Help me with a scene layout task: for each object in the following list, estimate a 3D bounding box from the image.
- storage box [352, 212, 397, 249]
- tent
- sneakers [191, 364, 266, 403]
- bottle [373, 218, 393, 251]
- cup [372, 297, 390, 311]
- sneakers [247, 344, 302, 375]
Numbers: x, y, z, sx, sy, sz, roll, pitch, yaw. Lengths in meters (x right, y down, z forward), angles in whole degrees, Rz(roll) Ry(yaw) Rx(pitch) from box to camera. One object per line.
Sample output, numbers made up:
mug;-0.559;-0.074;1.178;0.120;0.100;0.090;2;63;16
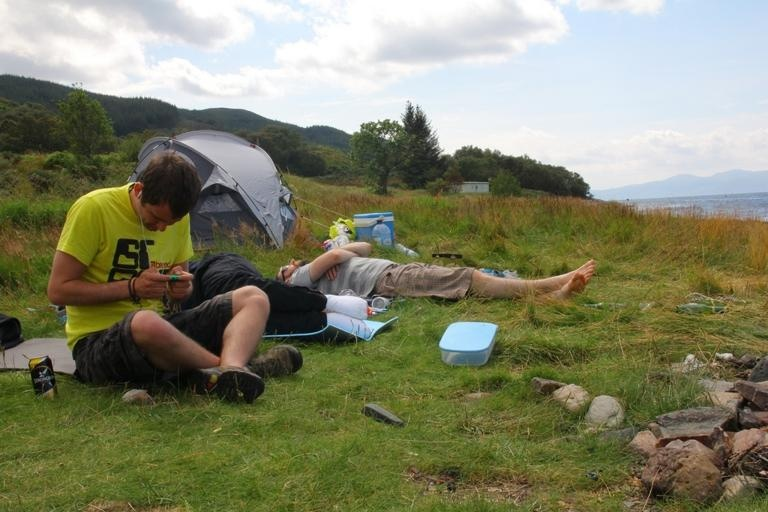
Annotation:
storage box;-0.212;-0.380;9.987;0.800;0.556;0.806;-11;0;7
tent;-2.537;-1.271;10.639;2.386;1.071;2.526;3;6;7
sneakers;-1.110;0.923;4.560;0.527;0.222;0.250;7;1;7
bottle;-0.029;-0.346;9.658;0.444;0.603;0.339;-3;15;-1
cup;-0.034;0.519;6.689;0.200;0.133;0.208;-1;6;0
sneakers;-0.855;0.842;4.971;0.381;0.156;0.196;-2;38;-7
